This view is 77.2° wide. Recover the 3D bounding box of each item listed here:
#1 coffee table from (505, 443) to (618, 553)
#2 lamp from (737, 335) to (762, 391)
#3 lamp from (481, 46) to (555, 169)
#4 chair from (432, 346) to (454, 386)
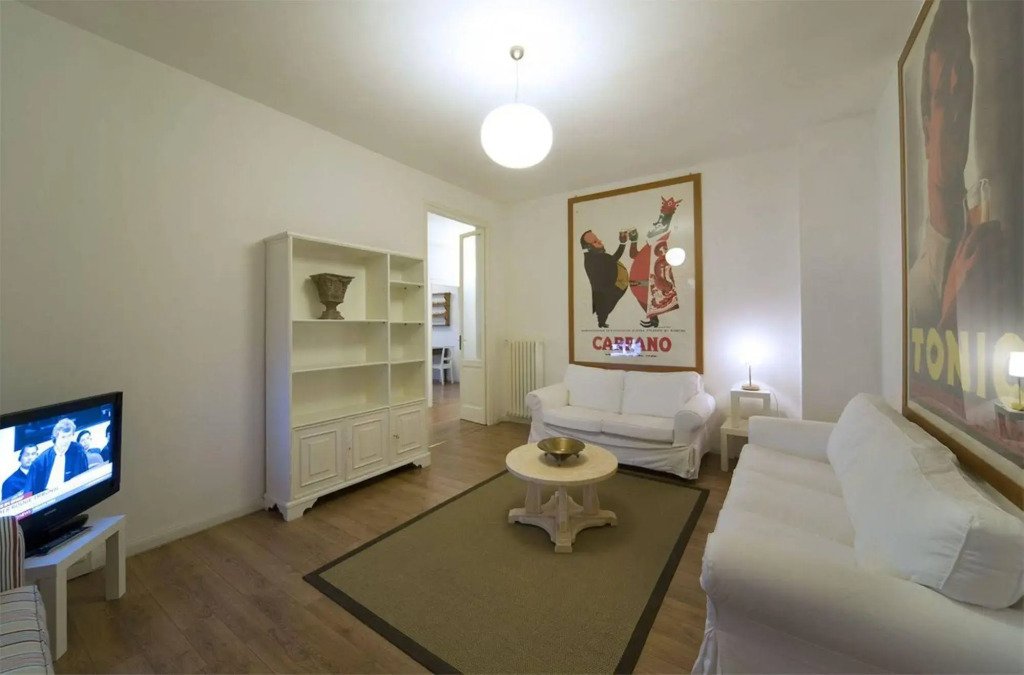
[{"bbox_3d":[0.384,1.220,5.100,0.752,0.457,0.770,-1,-4,2],"label":"coffee table"},{"bbox_3d":[2.278,0.238,6.134,0.168,0.485,0.337,2,4,16],"label":"lamp"},{"bbox_3d":[0.085,-1.753,4.945,0.497,0.879,0.670,2,4,16],"label":"lamp"},{"bbox_3d":[-1.251,0.486,11.144,0.417,0.614,0.514,1,4,10],"label":"chair"}]
